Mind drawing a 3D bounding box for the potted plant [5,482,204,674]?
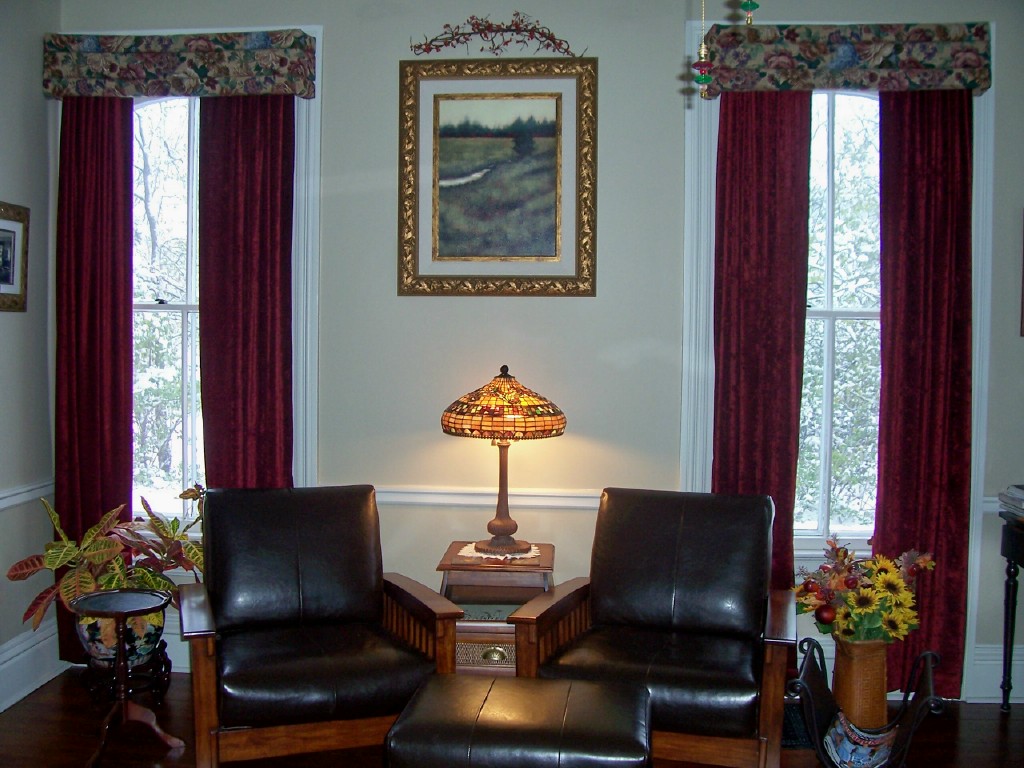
[{"bbox_3d":[-1.975,0.959,4.909,0.855,0.853,0.963,-1,-7,8],"label":"potted plant"}]

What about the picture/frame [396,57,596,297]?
[{"bbox_3d":[-0.053,-1.163,5.018,1.200,1.424,0.068,0,1,1],"label":"picture/frame"}]

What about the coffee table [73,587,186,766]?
[{"bbox_3d":[-1.765,1.334,4.347,0.427,0.756,0.515,-4,7,-25],"label":"coffee table"}]

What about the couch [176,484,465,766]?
[{"bbox_3d":[-0.850,0.982,4.574,1.354,1.548,1.185,0,-8,-21],"label":"couch"}]

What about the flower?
[{"bbox_3d":[1.622,0.870,4.361,0.584,0.420,0.532,-2,-1,-13],"label":"flower"}]
